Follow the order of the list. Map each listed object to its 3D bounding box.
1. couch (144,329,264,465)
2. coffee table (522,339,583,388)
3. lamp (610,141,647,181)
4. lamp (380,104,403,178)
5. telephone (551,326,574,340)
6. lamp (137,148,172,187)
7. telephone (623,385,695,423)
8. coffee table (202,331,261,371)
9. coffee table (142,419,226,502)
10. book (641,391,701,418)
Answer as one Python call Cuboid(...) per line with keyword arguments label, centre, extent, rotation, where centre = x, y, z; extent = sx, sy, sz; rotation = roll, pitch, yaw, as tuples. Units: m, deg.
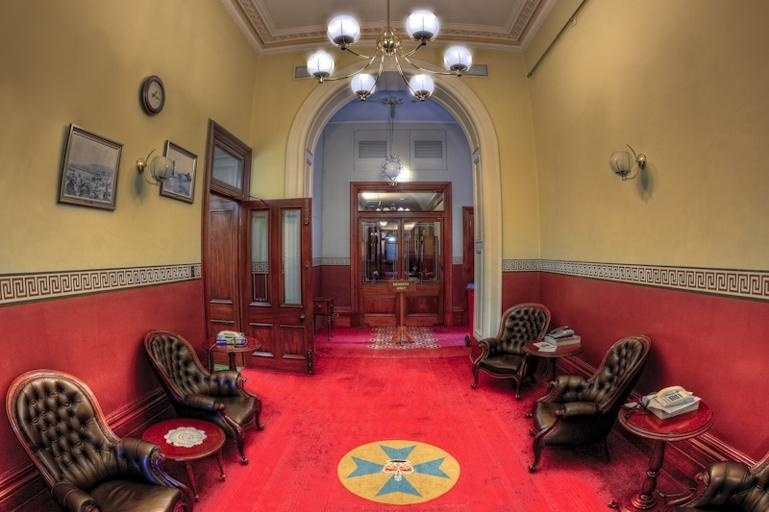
Cuboid(label="couch", centre=(-2.182, 1.667, 5.323), extent=(1.116, 1.499, 0.987), rotation=(-1, 5, -3))
Cuboid(label="coffee table", centre=(2.228, 1.593, 5.903), extent=(0.515, 0.604, 0.528), rotation=(-1, -2, 5))
Cuboid(label="lamp", centre=(2.877, -1.162, 5.345), extent=(0.312, 0.395, 0.444), rotation=(0, -23, 6))
Cuboid(label="lamp", centre=(0.157, -2.646, 10.495), extent=(0.485, 1.821, 0.403), rotation=(-1, 11, -1))
Cuboid(label="telephone", centre=(2.423, 1.070, 6.038), extent=(0.228, 0.090, 0.178), rotation=(-2, 3, -15))
Cuboid(label="lamp", centre=(-2.773, -1.064, 5.344), extent=(0.361, 0.421, 0.241), rotation=(-7, -14, -24))
Cuboid(label="telephone", centre=(2.816, 1.457, 4.371), extent=(0.439, 0.157, 0.338), rotation=(-8, 10, -5))
Cuboid(label="coffee table", centre=(-2.181, 1.439, 6.164), extent=(0.551, 0.414, 0.539), rotation=(-18, -1, -36))
Cuboid(label="coffee table", centre=(-2.075, 1.959, 4.661), extent=(0.705, 0.506, 0.743), rotation=(8, 15, 12))
Cuboid(label="book", centre=(2.828, 1.462, 4.372), extent=(0.365, 0.165, 0.281), rotation=(-11, 17, -7))
